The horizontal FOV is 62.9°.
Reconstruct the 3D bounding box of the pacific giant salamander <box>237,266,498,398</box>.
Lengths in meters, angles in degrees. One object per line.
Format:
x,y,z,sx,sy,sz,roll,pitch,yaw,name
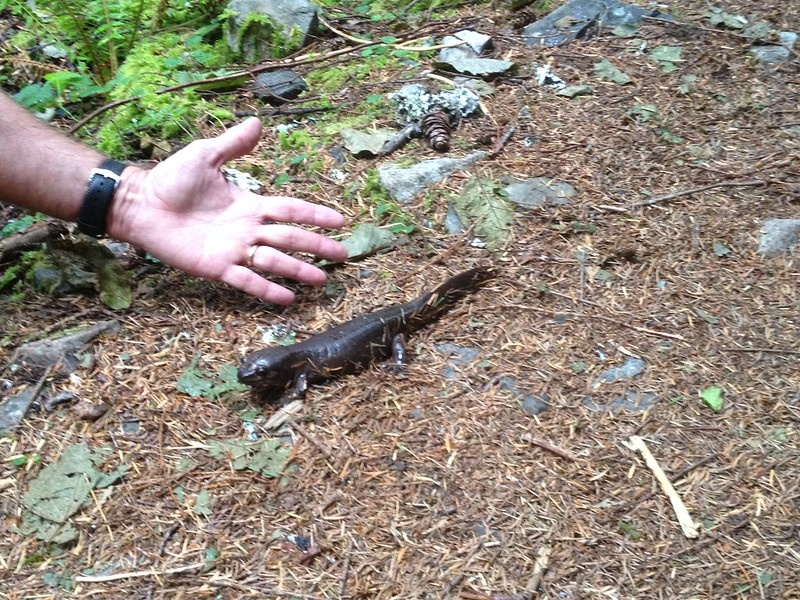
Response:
-0.234,0.309,5.478,2.144,0.412,0.528,-23,44,-19,pacific giant salamander
